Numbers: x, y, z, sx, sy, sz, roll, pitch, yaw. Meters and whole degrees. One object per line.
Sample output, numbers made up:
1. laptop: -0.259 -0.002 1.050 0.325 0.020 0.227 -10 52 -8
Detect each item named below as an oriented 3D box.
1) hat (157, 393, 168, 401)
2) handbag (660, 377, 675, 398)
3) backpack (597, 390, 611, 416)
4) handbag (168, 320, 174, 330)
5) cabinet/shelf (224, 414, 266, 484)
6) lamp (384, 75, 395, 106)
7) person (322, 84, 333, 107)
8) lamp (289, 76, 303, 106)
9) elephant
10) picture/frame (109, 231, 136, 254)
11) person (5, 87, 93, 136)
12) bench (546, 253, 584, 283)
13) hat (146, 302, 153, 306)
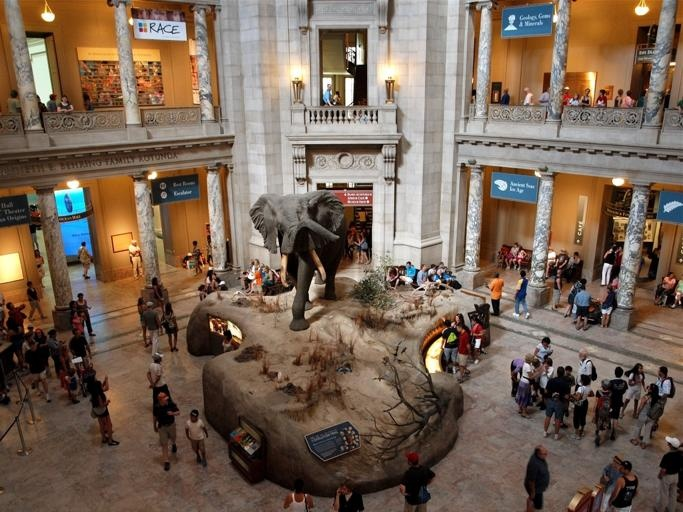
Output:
1. hat: -3.991 3.149 9.653 0.205 0.078 0.208 3 8 -3
2. handbag: 7.892 3.170 10.366 0.398 0.451 0.232 -9 16 -27
3. backpack: 6.437 3.594 10.567 0.269 0.625 0.259 9 18 38
4. handbag: -5.645 2.299 14.378 0.206 0.113 0.279 0 33 -25
5. cabinet/shelf: -2.128 4.315 9.653 0.375 1.077 1.062 -6 13 -42
6. lamp: 2.079 -7.063 18.248 0.401 1.089 0.611 -1 14 6
7. person: -0.611 -7.185 19.109 0.486 0.884 0.988 -2 14 -2
8. lamp: -1.852 -7.104 18.401 0.527 1.053 0.378 -3 14 -6
9. elephant: -1.143 0.025 13.292 2.509 3.938 5.429 -11 3 -1
10. picture/frame: -10.529 -0.645 20.589 1.006 1.119 0.078 7 3 -43
11. person: -10.499 -5.042 15.093 2.643 1.446 1.123 -14 18 -40
12. bench: 10.138 0.489 19.448 1.176 1.173 0.615 6 9 42
13. hat: -6.534 1.633 14.680 0.198 0.156 0.184 0 14 -12
